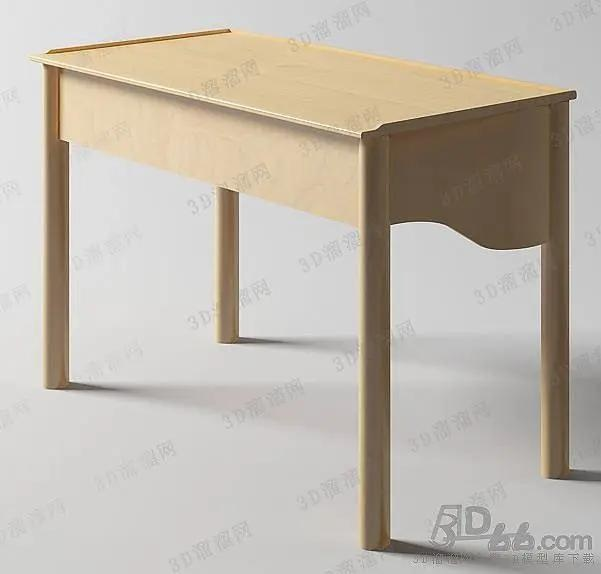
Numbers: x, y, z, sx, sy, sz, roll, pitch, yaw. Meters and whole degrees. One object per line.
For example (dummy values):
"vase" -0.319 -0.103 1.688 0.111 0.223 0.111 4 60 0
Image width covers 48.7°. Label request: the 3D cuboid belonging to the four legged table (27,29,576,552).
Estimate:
"four legged table" -0.069 -0.162 1.635 1.379 1.044 0.641 10 16 41
